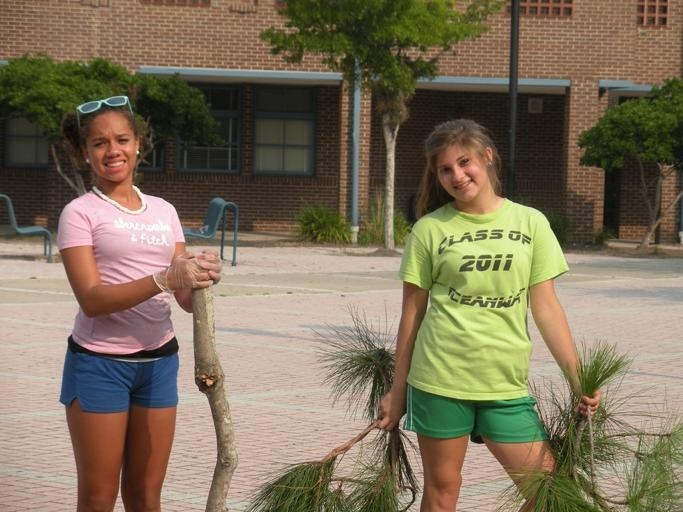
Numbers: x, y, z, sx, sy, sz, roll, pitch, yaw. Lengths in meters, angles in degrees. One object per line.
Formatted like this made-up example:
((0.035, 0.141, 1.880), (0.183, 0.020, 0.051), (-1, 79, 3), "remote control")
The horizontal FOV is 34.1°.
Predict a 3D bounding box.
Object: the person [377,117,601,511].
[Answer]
((0.777, 0.344, 6.386), (1.061, 2.243, 0.460), (2, 6, 11), "person")

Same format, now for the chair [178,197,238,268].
((-2.407, -0.326, 18.844), (1.232, 0.948, 1.043), (1, -1, -12), "chair")
